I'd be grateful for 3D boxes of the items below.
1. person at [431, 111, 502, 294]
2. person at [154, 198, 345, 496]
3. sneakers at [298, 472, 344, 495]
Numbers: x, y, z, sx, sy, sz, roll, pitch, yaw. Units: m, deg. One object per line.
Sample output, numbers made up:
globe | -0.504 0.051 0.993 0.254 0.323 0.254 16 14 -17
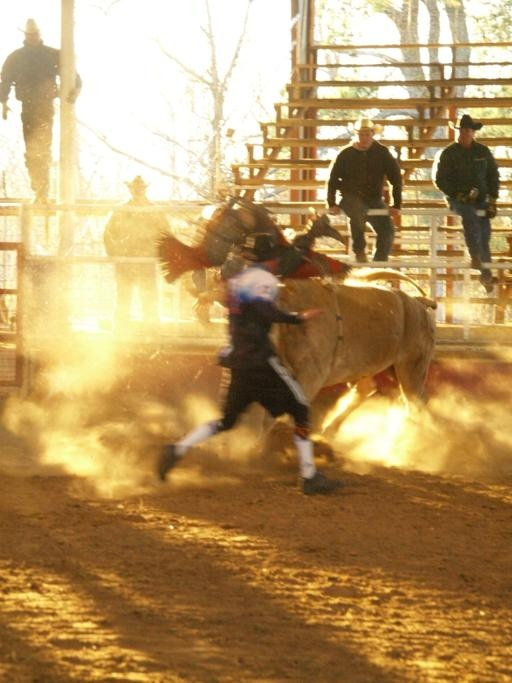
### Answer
person | 2.270 -1.594 8.147 0.688 1.228 0.417 5 3 10
person | 0.070 0.078 4.594 0.918 1.766 0.933 8 4 43
sneakers | 0.450 0.901 4.862 0.351 0.119 0.107 -4 7 -15
